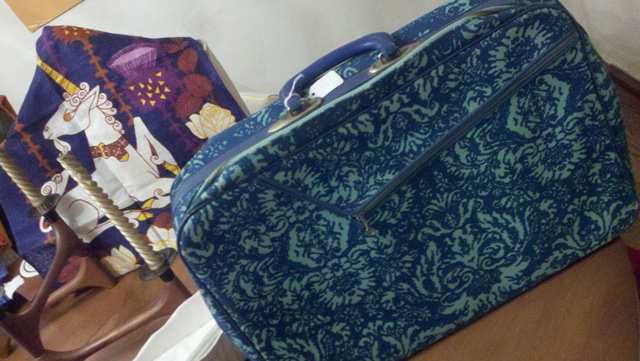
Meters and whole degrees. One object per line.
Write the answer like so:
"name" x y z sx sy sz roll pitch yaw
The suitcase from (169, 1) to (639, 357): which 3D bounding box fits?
"suitcase" 0.247 0.033 1.551 0.832 0.569 0.317 -29 25 -1
